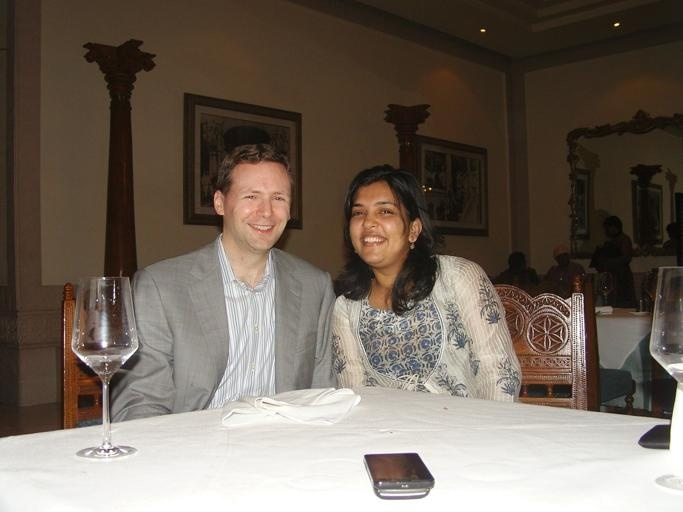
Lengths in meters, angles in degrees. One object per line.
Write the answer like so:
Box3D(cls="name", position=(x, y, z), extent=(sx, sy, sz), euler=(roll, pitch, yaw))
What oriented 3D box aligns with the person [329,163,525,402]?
Box3D(cls="person", position=(0.326, 0.078, 2.317), extent=(0.776, 0.919, 0.388), euler=(1, 4, 18))
